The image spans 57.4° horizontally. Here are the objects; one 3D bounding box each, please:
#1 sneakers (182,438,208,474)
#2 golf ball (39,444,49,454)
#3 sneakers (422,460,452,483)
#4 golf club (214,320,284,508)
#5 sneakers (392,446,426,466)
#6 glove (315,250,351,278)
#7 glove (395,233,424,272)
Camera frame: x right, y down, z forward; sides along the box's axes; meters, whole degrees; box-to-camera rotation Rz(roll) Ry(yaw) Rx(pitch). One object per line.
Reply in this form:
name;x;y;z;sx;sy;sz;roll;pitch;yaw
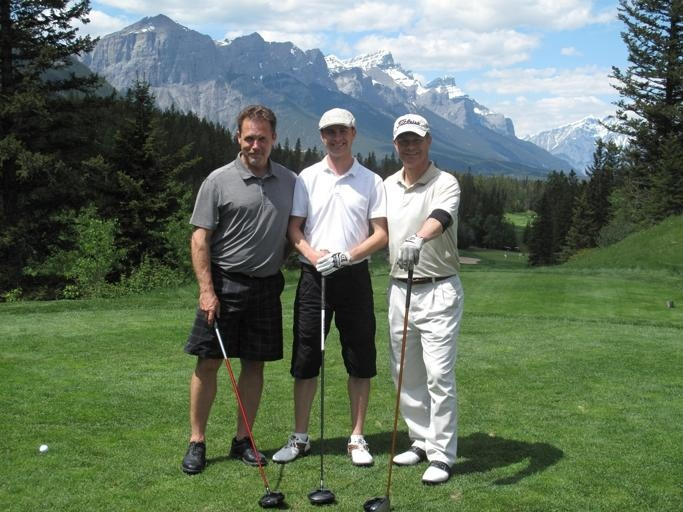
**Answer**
sneakers;-1.653;2.251;7.012;0.257;0.256;0.345;-1;7;-14
golf ball;-3.383;2.190;7.092;0.078;0.046;0.079;2;5;0
sneakers;1.101;2.411;6.986;0.404;0.190;0.259;-1;7;-12
golf club;-1.103;1.897;7.408;0.308;1.798;0.285;-17;-1;22
sneakers;0.816;2.358;7.384;0.434;0.188;0.159;6;-11;-41
glove;-0.093;0.073;7.290;0.382;0.240;0.117;-17;10;-23
glove;0.796;-0.020;7.044;0.152;0.412;0.239;30;-26;-25
